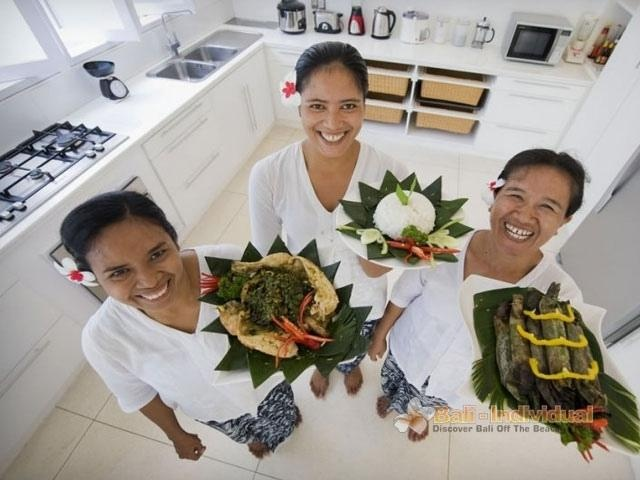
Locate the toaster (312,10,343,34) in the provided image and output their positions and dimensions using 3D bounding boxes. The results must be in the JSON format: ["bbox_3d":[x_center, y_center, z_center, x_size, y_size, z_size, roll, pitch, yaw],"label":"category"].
[{"bbox_3d":[0.084,-2.411,4.374,0.328,0.211,0.259,1,39,6],"label":"toaster"}]

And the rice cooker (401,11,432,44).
[{"bbox_3d":[0.992,-2.212,4.130,0.294,0.263,0.318,6,39,12],"label":"rice cooker"}]

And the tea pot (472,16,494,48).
[{"bbox_3d":[1.665,-2.098,4.012,0.207,0.250,0.239,12,41,19],"label":"tea pot"}]

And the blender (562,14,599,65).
[{"bbox_3d":[2.476,-1.879,3.820,0.214,0.469,0.200,19,43,19],"label":"blender"}]

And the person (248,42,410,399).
[{"bbox_3d":[-0.033,-0.083,2.620,0.859,2.124,0.901,5,34,-7],"label":"person"}]

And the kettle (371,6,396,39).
[{"bbox_3d":[0.654,-2.251,4.123,0.235,0.301,0.293,2,39,7],"label":"kettle"}]

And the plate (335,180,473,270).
[{"bbox_3d":[0.420,-0.131,2.003,0.660,0.244,0.570,3,39,8],"label":"plate"}]

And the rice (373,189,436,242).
[{"bbox_3d":[0.422,-0.139,1.995,0.251,0.091,0.267,-20,53,-7],"label":"rice"}]
